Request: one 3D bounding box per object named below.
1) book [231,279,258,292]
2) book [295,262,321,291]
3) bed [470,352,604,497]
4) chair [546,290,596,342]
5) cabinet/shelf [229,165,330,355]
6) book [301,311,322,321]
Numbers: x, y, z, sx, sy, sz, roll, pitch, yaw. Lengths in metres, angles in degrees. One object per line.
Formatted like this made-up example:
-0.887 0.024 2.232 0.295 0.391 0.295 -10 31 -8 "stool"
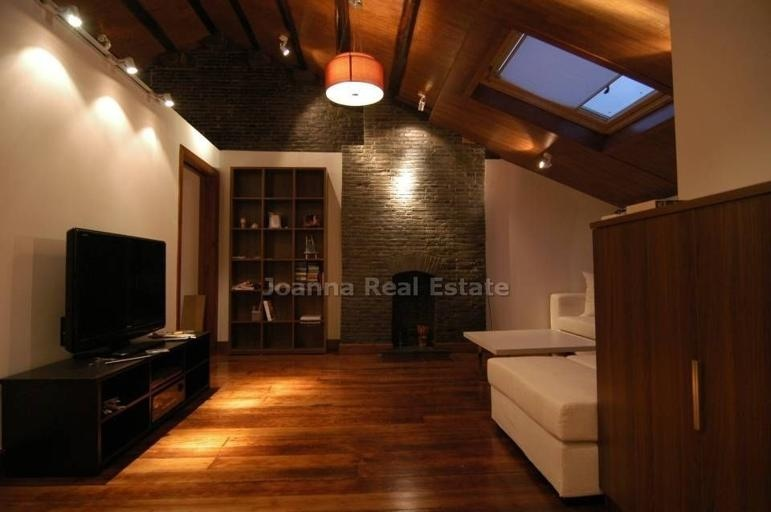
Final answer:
-1.913 0.418 7.674 0.338 0.132 0.302 -2 10 -10 "book"
-1.055 0.284 7.717 0.373 0.427 0.234 -2 10 -6 "book"
1.186 1.251 4.461 0.809 0.665 1.334 1 -5 0 "bed"
2.770 0.839 7.913 0.684 0.741 1.190 -14 -8 17 "chair"
-1.463 0.031 7.727 1.326 2.463 0.833 -1 10 -2 "cabinet/shelf"
-1.018 0.839 7.712 0.295 0.070 0.258 -2 10 -7 "book"
